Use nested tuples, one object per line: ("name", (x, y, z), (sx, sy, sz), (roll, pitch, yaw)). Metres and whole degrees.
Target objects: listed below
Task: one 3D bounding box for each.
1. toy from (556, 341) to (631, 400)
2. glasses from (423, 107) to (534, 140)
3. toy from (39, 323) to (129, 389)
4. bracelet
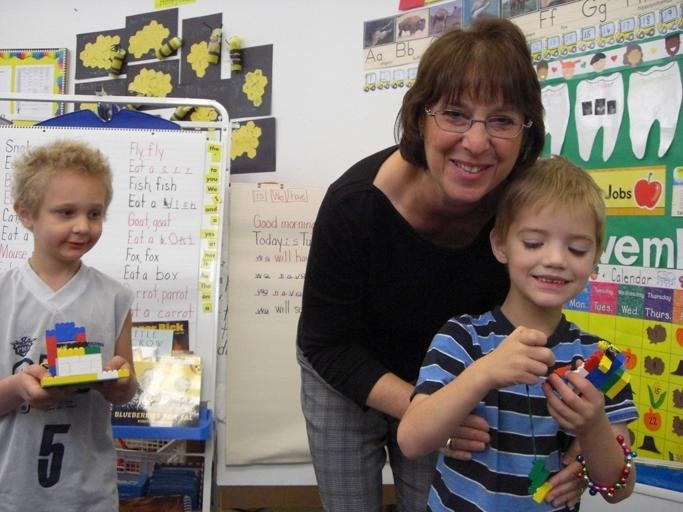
("toy", (0.617, 0.278, 1.592), (0.143, 0.143, 0.054), (34, 16, -7))
("glasses", (0.339, -0.336, 1.651), (0.241, 0.077, 0.045), (2, 3, 9))
("toy", (-0.722, 0.272, 1.749), (0.270, 0.169, 0.125), (3, 3, 17))
("bracelet", (0.663, 0.529, 1.665), (0.133, 0.172, 0.057), (-32, 8, -2))
